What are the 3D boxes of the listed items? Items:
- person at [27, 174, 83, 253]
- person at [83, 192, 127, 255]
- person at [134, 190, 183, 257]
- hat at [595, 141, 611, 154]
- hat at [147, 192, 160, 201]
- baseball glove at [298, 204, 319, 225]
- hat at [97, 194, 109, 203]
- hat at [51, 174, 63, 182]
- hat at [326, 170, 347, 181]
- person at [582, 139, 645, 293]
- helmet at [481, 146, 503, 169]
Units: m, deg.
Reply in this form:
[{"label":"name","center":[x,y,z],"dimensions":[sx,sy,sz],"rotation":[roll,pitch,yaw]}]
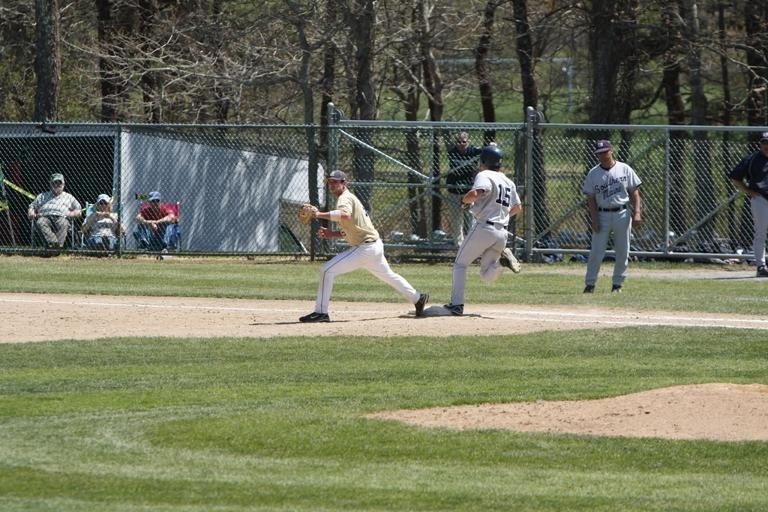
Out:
[{"label":"person","center":[-7.547,-1.005,39.839],"dimensions":[1.182,1.739,0.779],"rotation":[0,3,-11]},{"label":"person","center":[-6.477,-0.702,39.946],"dimensions":[0.890,1.530,0.905],"rotation":[-4,-12,5]},{"label":"person","center":[-5.223,-0.806,40.236],"dimensions":[0.834,1.641,0.940],"rotation":[-2,-2,-8]},{"label":"hat","center":[4.451,-2.186,34.992],"dimensions":[0.238,0.173,0.345],"rotation":[-1,7,31]},{"label":"hat","center":[-5.295,-1.380,40.072],"dimensions":[0.269,0.205,0.633],"rotation":[0,4,-10]},{"label":"baseball glove","center":[-1.448,-0.773,32.374],"dimensions":[0.283,0.371,0.160],"rotation":[10,3,-11]},{"label":"hat","center":[-6.410,-1.314,39.780],"dimensions":[0.294,0.184,0.432],"rotation":[0,4,-11]},{"label":"hat","center":[-7.467,-1.781,39.710],"dimensions":[0.270,0.173,0.477],"rotation":[0,4,-13]},{"label":"hat","center":[-0.904,-1.493,32.646],"dimensions":[0.341,0.165,0.251],"rotation":[-2,4,-29]},{"label":"person","center":[4.629,-0.809,35.404],"dimensions":[1.175,3.033,1.278],"rotation":[0,1,30]},{"label":"helmet","center":[2.064,-1.928,33.289],"dimensions":[0.351,0.347,0.459],"rotation":[8,31,5]}]
